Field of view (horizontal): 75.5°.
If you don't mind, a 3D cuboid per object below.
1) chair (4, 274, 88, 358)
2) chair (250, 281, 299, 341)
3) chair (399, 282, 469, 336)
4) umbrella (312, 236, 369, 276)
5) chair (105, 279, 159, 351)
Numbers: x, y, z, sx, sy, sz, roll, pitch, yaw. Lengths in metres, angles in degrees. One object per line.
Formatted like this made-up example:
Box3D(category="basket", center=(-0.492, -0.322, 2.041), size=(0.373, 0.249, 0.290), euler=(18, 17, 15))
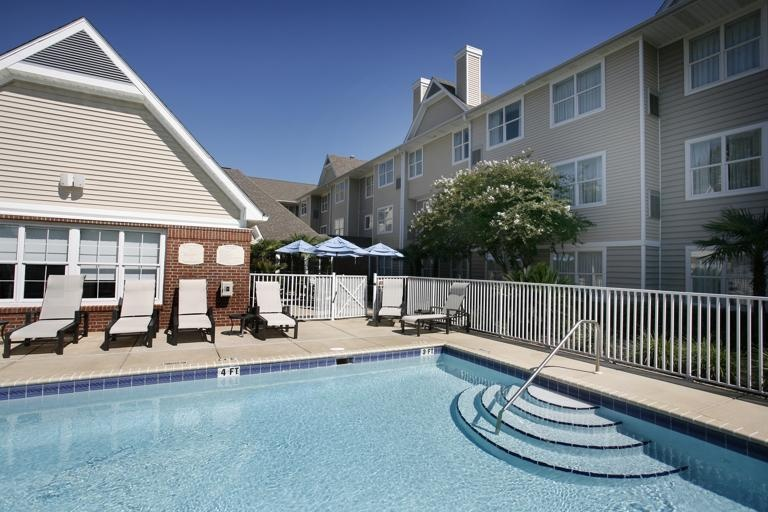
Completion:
Box3D(category="chair", center=(-9.593, 1.605, 14.179), size=(1.623, 2.240, 2.299), euler=(0, -5, -19))
Box3D(category="chair", center=(-3.616, 1.690, 16.321), size=(1.248, 1.859, 2.073), euler=(0, -5, -15))
Box3D(category="chair", center=(1.854, 1.765, 17.452), size=(2.232, 1.799, 2.690), euler=(-2, -5, 13))
Box3D(category="umbrella", center=(-2.207, -0.039, 22.283), size=(1.473, 1.026, 1.445), euler=(-1, 5, -38))
Box3D(category="chair", center=(-7.559, 1.664, 14.925), size=(1.338, 2.050, 2.152), euler=(1, -5, -24))
